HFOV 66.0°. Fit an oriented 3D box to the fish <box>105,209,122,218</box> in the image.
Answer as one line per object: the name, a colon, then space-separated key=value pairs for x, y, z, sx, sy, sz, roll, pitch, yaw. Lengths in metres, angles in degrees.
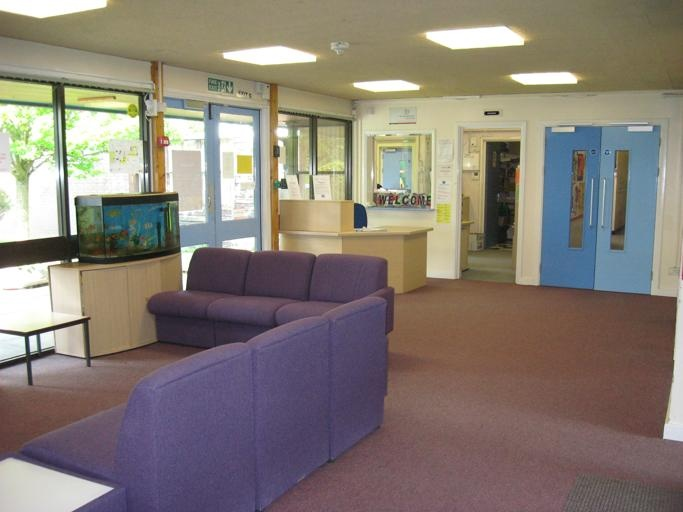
fish: x=-2.458 y=-0.463 z=5.613 sx=0.188 sy=0.121 sz=0.032 roll=-8 pitch=13 yaw=-40

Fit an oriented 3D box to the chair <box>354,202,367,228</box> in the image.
chair: x=0.322 y=-0.703 z=9.089 sx=0.190 sy=0.381 sz=0.257 roll=0 pitch=10 yaw=0

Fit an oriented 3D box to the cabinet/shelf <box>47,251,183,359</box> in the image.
cabinet/shelf: x=-2.532 y=0.554 z=5.707 sx=0.387 sy=0.741 sz=1.095 roll=2 pitch=6 yaw=30

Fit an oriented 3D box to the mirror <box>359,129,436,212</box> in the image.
mirror: x=1.128 y=-1.690 z=10.103 sx=1.666 sy=1.754 sz=0.081 roll=2 pitch=7 yaw=19
